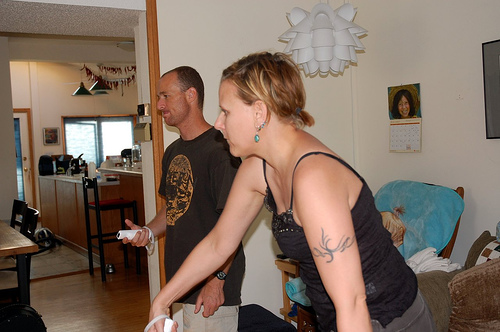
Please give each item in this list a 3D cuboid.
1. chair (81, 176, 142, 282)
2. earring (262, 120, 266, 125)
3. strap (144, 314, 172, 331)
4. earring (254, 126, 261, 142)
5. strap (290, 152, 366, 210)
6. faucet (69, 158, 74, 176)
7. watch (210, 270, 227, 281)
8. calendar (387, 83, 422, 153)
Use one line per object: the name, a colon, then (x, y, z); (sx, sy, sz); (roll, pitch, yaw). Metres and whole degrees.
chair: (-2.086, 0.844, 5.449); (0.652, 1.562, 0.664); (-3, -1, -29)
earring: (0.055, -0.166, 1.340); (0.014, 0.015, 0.006); (2, -3, 3)
strap: (-0.366, 0.636, 1.419); (0.071, 0.018, 0.052); (-45, -16, 29)
earring: (0.034, -0.122, 1.355); (0.021, 0.060, 0.013); (-1, 5, 2)
strap: (0.288, 0.042, 1.237); (0.203, 0.217, 0.056); (-14, -2, -11)
faucet: (-3.607, 0.032, 7.288); (0.076, 0.293, 0.474); (-4, 6, -25)
watch: (-0.158, 0.609, 1.984); (0.080, 0.056, 0.080); (-12, -28, 0)
calendar: (1.481, -0.457, 3.422); (0.054, 0.637, 0.335); (-4, 6, -32)
